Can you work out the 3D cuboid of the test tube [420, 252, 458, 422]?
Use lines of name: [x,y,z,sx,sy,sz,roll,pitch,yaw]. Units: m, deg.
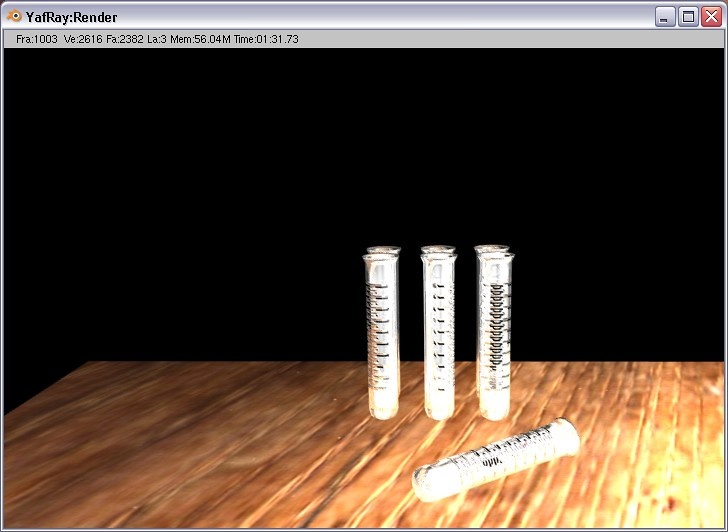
test tube: [0.182,0.174,1.468,0.072,0.412,0.088,-1,12,6]
